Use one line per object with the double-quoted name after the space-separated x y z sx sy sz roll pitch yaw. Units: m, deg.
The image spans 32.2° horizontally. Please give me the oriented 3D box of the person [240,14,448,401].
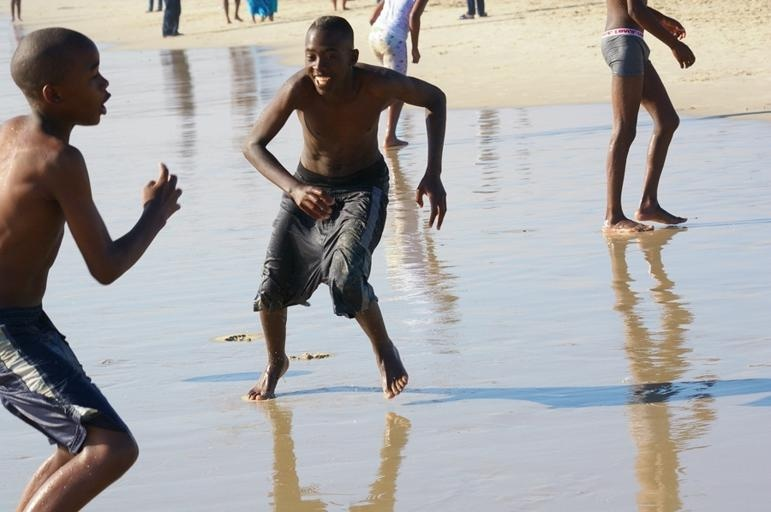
-0.233 -0.299 7.516 1.147 2.058 1.155 -3 20 5 "person"
